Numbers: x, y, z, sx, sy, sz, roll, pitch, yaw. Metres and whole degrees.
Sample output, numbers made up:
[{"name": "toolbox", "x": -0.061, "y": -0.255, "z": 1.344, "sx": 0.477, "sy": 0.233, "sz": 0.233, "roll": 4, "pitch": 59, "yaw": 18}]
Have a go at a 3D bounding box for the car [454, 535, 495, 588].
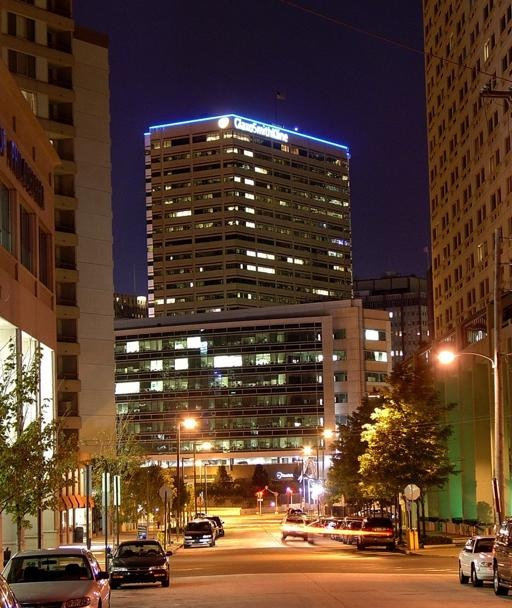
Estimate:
[{"name": "car", "x": 5.922, "y": 6.814, "z": 24.204, "sx": 0.743, "sy": 0.794, "sz": 1.754, "roll": 2, "pitch": -13, "yaw": -10}]
